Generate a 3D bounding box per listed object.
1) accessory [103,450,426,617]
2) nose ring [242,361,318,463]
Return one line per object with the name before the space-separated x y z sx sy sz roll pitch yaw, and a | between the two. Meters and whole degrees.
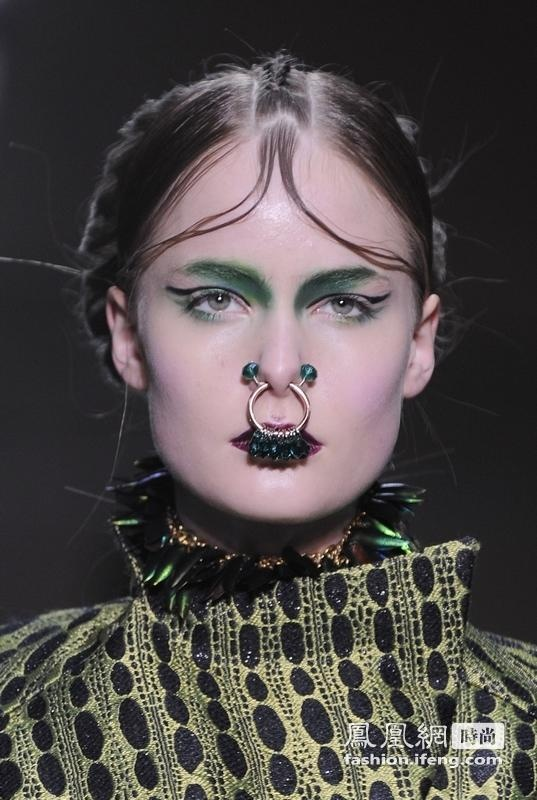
accessory | -0.003 0.263 1.613 0.553 0.141 0.494 1 7 -14
nose ring | 0.016 0.027 1.446 0.145 0.186 0.067 8 20 -2
